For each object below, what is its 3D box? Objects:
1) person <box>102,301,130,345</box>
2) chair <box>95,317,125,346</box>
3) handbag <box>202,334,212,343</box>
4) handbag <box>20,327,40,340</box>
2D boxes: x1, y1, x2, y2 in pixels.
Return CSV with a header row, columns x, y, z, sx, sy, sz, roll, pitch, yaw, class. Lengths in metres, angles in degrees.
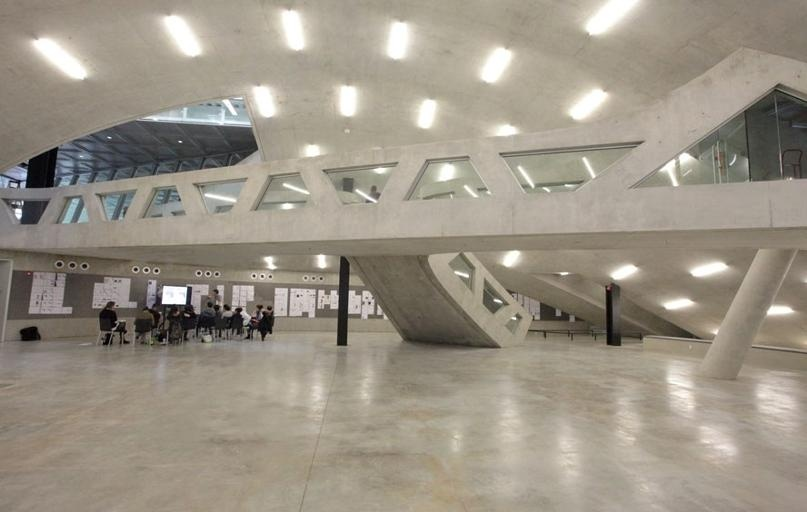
x,y,z,sx,sy,sz,roll,pitch,yaw,class
-11.629,2.645,19.722,0.829,1.794,1.133,1,2,-4,person
-11.838,3.062,19.896,1.266,1.226,0.948,0,-1,37,chair
-8.649,3.599,21.658,0.324,0.230,0.329,2,-3,-38,handbag
-15.100,3.117,19.912,0.436,0.536,0.627,-1,-14,11,handbag
